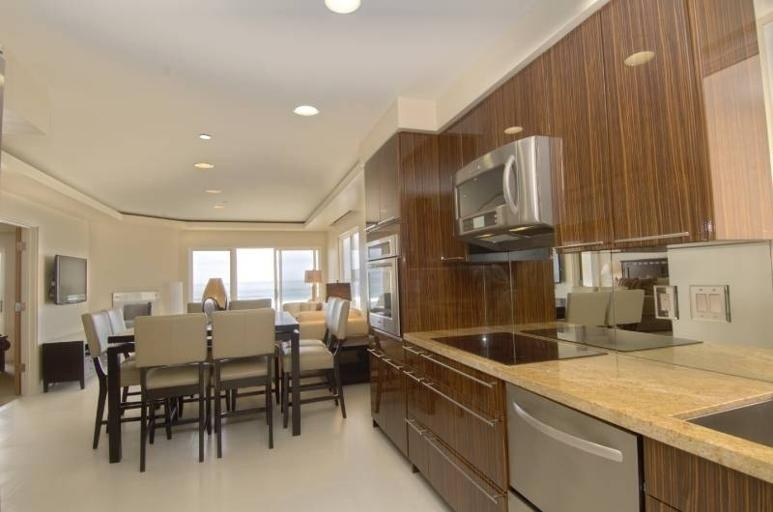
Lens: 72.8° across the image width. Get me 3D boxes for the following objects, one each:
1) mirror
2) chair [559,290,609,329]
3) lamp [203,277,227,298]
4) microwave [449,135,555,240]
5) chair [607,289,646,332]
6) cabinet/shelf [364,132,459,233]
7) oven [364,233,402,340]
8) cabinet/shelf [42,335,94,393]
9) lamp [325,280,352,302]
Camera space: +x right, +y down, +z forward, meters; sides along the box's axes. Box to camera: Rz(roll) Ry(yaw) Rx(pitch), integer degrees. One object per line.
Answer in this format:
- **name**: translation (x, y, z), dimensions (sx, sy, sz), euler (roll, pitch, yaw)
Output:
- **mirror**: translation (1.296, 0.401, 3.394), dimensions (0.805, 0.212, 0.651), euler (-14, -3, -10)
- **chair**: translation (1.280, 0.353, 3.430), dimensions (0.208, 0.295, 0.206), euler (4, -9, -8)
- **lamp**: translation (-2.420, 0.447, 7.400), dimensions (0.296, 0.306, 0.303), euler (-2, -3, 15)
- **microwave**: translation (0.793, -0.411, 3.679), dimensions (0.418, 0.560, 0.876), euler (1, -7, -26)
- **chair**: translation (1.511, 0.324, 3.273), dimensions (0.234, 0.255, 0.174), euler (-1, -5, 10)
- **cabinet/shelf**: translation (0.252, -0.681, 4.798), dimensions (0.493, 0.750, 1.011), euler (-2, 8, -13)
- **oven**: translation (0.074, 0.262, 4.673), dimensions (0.299, 0.854, 0.843), euler (-1, -2, -21)
- **cabinet/shelf**: translation (-4.131, 1.370, 6.810), dimensions (0.481, 0.788, 0.898), euler (-2, -2, -25)
- **lamp**: translation (-0.755, 0.618, 8.443), dimensions (0.477, 0.479, 0.270), euler (0, -7, 1)
